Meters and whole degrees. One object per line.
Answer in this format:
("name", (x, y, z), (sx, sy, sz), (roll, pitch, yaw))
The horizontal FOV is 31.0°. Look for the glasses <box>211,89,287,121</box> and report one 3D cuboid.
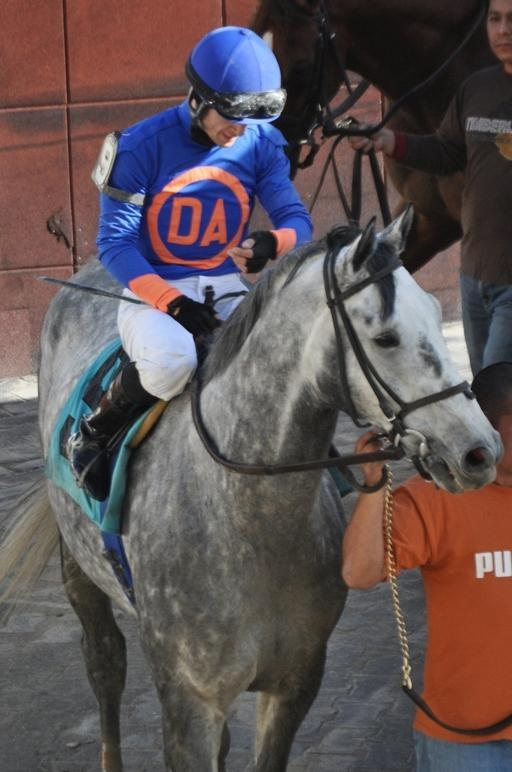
("glasses", (-0.021, -0.694, 2.269), (0.194, 0.078, 0.107), (-4, 13, -9))
